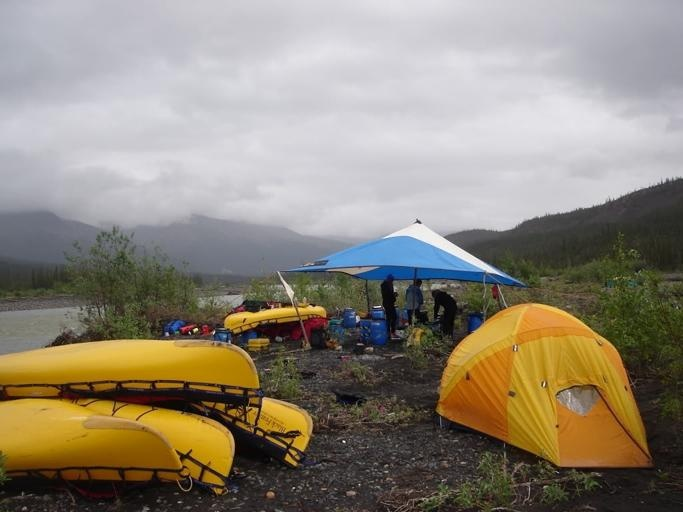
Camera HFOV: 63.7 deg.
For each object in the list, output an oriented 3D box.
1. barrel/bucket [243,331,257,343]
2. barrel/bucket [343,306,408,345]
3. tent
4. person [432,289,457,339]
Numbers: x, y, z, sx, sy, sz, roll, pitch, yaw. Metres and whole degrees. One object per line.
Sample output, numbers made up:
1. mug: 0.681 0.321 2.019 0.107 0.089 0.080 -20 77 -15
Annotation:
1. barrel/bucket: -2.675 2.377 16.170 0.290 0.318 0.560 1 1 26
2. barrel/bucket: 0.807 2.224 17.313 1.044 0.844 1.755 4 -7 -45
3. tent: 3.323 2.257 9.951 2.419 1.643 2.844 1 -2 -12
4. person: 3.272 1.926 17.557 0.588 0.422 1.388 17 -22 22
